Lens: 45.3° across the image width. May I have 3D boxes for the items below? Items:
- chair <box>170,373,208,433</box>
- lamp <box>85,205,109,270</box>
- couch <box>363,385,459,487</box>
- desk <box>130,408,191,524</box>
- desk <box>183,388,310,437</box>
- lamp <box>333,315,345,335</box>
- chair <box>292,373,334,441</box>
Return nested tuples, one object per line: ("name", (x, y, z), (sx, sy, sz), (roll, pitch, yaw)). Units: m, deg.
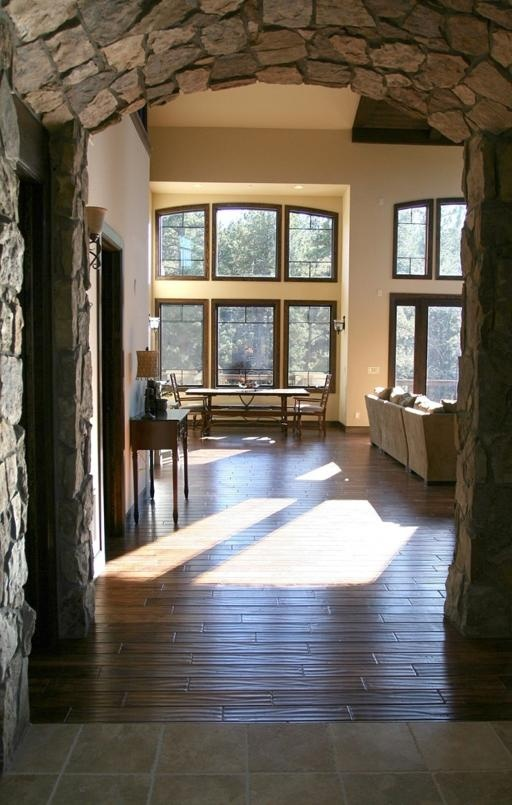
("chair", (-1.057, 0.037, 9.990), (0.657, 0.994, 0.616), (-5, 3, -23))
("lamp", (-0.900, -0.911, 3.418), (0.107, 0.335, 0.110), (4, 9, -1))
("couch", (1.800, 0.401, 7.102), (0.416, 0.812, 2.312), (0, 3, -3))
("desk", (-0.852, 0.578, 5.384), (0.297, 0.739, 0.824), (-1, 3, -2))
("desk", (-0.297, 0.126, 10.459), (1.673, 0.748, 1.833), (0, 3, -7))
("lamp", (1.476, -1.403, 10.983), (0.223, 0.361, 0.234), (2, 3, -6))
("chair", (0.974, 0.013, 10.601), (0.898, 1.597, 0.868), (0, 2, -3))
